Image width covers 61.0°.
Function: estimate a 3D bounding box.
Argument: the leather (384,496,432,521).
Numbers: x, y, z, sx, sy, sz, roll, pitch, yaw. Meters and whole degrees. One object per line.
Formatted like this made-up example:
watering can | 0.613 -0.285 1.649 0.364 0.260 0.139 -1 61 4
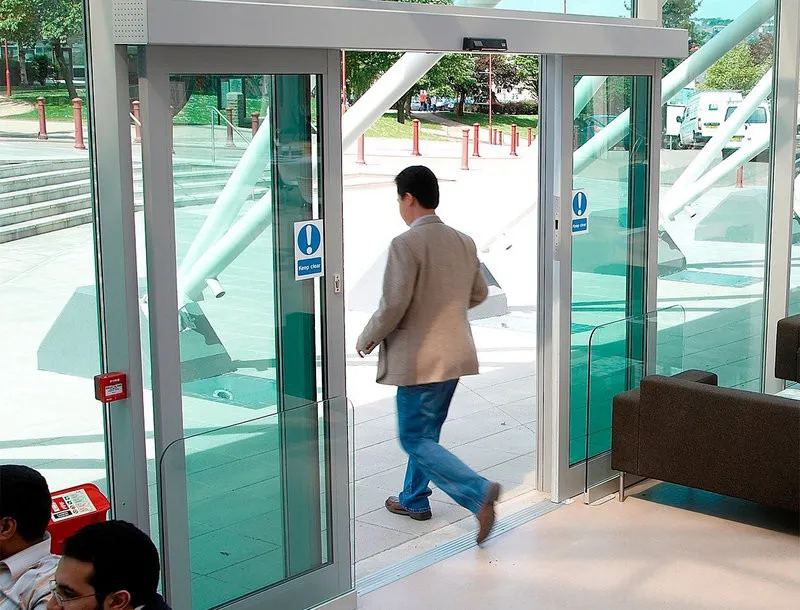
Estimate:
leather | 0.050 1.293 4.350 0.288 0.092 0.114 13 17 38
